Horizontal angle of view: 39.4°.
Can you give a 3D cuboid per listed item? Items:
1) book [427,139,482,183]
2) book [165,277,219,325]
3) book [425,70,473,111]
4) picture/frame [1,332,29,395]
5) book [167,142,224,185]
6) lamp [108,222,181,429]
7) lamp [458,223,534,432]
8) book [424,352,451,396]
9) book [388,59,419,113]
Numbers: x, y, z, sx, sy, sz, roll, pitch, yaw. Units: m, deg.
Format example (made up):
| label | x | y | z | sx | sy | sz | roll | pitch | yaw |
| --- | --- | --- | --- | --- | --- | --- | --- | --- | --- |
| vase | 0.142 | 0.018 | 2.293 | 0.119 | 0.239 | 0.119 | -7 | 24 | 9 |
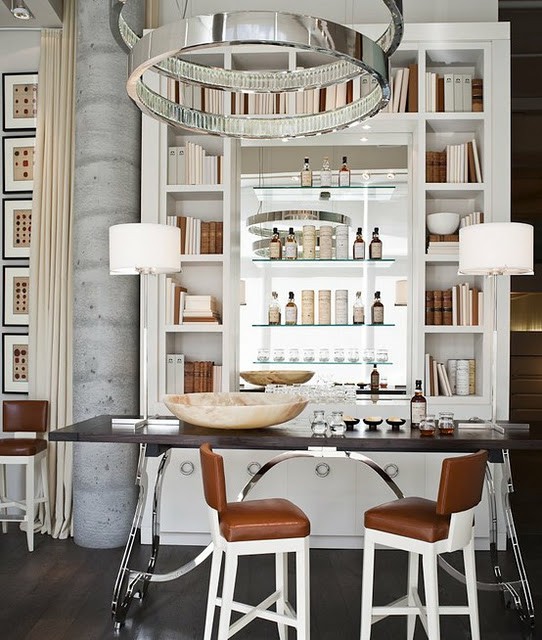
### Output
| label | x | y | z | sx | sy | sz | roll | pitch | yaw |
| --- | --- | --- | --- | --- | --- | --- | --- | --- | --- |
| book | 1.182 | -1.002 | 4.884 | 0.295 | 0.351 | 0.378 | 0 | 1 | 3 |
| book | -0.530 | -0.086 | 5.149 | 0.305 | 0.373 | 0.392 | 0 | -2 | 2 |
| book | 1.155 | -1.475 | 4.903 | 0.327 | 0.292 | 0.169 | 0 | -1 | 4 |
| picture/frame | -1.871 | 0.320 | 5.506 | 0.202 | 0.440 | 0.042 | 0 | 3 | 8 |
| book | -0.506 | -1.034 | 4.994 | 0.358 | 0.273 | 0.090 | 0 | 3 | -5 |
| lamp | -0.726 | -0.012 | 4.266 | 0.371 | 1.077 | 0.785 | -1 | 4 | -17 |
| lamp | 1.375 | 0.029 | 4.527 | 0.472 | 1.194 | 1.542 | 1 | 3 | 14 |
| book | 1.112 | 0.352 | 4.941 | 0.171 | 0.263 | 0.253 | 1 | 3 | 18 |
| book | 0.863 | -1.497 | 4.906 | 0.173 | 0.309 | 0.115 | 0 | 3 | 7 |
